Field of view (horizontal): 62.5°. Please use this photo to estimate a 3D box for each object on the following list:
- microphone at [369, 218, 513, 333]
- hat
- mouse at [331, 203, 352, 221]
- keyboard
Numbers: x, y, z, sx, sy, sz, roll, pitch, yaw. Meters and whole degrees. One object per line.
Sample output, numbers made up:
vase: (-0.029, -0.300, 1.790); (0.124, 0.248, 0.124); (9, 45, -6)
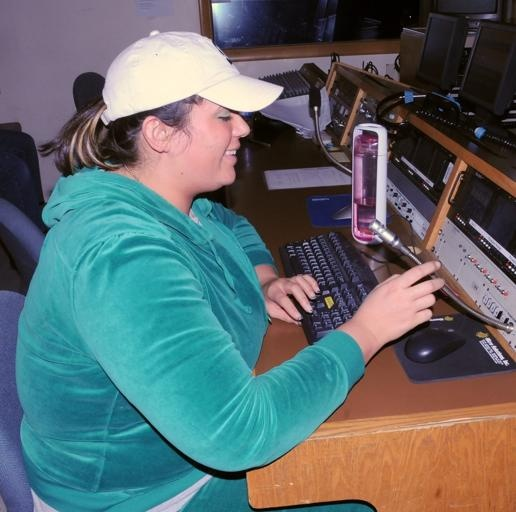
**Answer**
microphone: (0.401, 0.046, 0.906); (0.321, 0.043, 0.041); (43, 19, -1)
hat: (-0.142, -0.322, 0.779); (0.327, 0.147, 0.218); (-16, 19, -8)
mouse: (0.278, -0.145, 1.392); (0.061, 0.019, 0.041); (-24, 67, -9)
keyboard: (0.162, 0.072, 1.036); (0.150, 0.055, 0.385); (-17, 31, 11)
